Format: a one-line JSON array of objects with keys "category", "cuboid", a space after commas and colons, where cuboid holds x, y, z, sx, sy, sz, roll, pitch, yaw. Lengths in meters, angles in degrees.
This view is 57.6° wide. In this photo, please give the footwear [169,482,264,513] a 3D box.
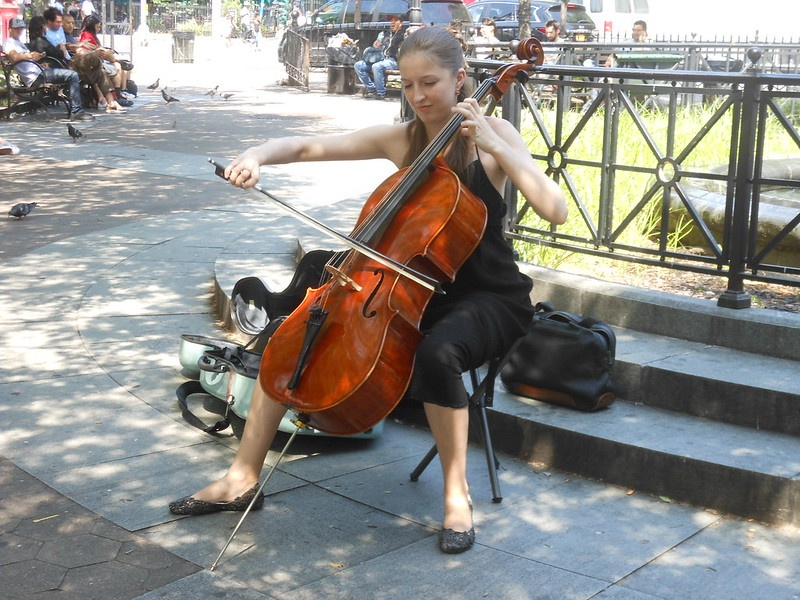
[{"category": "footwear", "cuboid": [-0.762, 0.840, 3.060, 0.469, 0.125, 0.146, 3, -5, -12]}]

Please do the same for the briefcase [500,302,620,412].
[{"category": "briefcase", "cuboid": [0.852, 0.282, 3.783, 0.385, 0.424, 0.653, -9, 11, -39]}]

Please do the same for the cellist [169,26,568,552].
[{"category": "cellist", "cuboid": [-0.202, -0.075, 3.232, 1.812, 1.991, 1.254, -4, -4, 10]}]

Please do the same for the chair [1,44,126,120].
[{"category": "chair", "cuboid": [-6.765, -4.289, 14.370, 0.946, 1.056, 2.201, -8, 15, 5]}]

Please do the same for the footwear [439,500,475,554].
[{"category": "footwear", "cuboid": [0.227, 0.920, 2.845, 0.157, 0.087, 0.144, -2, 15, -2]}]
